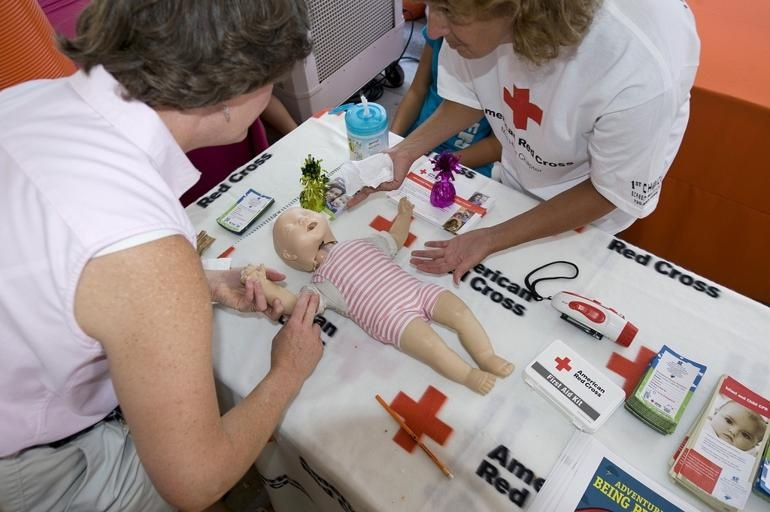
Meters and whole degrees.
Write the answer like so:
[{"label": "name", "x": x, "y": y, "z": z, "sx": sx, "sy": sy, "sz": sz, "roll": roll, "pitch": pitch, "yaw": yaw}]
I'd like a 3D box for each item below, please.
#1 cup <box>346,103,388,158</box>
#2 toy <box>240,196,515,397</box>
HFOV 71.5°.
[{"label": "cup", "x": -0.072, "y": -0.483, "z": 2.047, "sx": 0.165, "sy": 0.214, "sz": 0.199, "roll": 4, "pitch": 49, "yaw": 4}, {"label": "toy", "x": 0.000, "y": 0.142, "z": 1.733, "sx": 0.752, "sy": 0.222, "sz": 0.530, "roll": 37, "pitch": 61, "yaw": 11}]
